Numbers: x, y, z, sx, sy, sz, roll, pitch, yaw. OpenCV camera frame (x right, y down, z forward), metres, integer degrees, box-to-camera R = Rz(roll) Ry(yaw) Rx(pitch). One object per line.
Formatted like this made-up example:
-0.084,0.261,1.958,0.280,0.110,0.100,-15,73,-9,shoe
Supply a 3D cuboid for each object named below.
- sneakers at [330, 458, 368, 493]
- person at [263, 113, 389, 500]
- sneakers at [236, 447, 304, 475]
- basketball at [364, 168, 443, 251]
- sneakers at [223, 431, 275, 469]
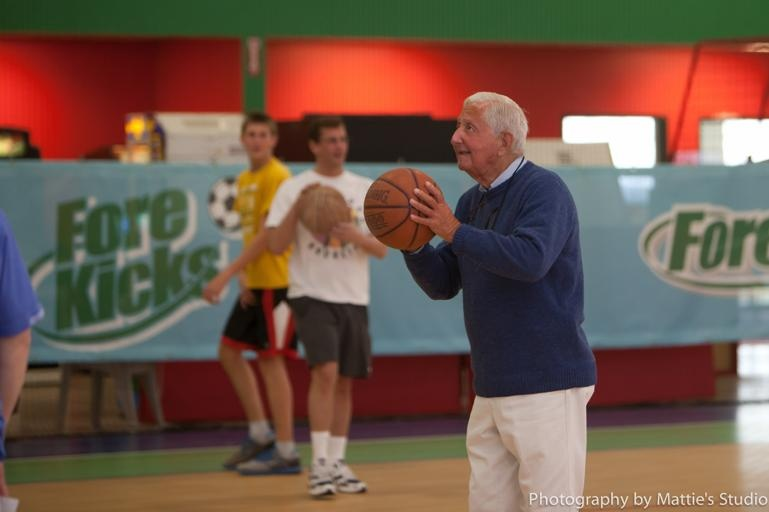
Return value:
-0.214,1.197,5.237,0.244,0.118,0.105,10,0,33,sneakers
-0.282,0.248,5.254,0.552,1.983,0.477,-8,11,-36,person
-0.617,1.143,5.371,0.404,0.170,0.140,4,-8,-5,sneakers
0.046,-0.206,4.204,0.322,0.395,0.335,4,-1,18,basketball
-0.798,1.065,5.303,0.367,0.150,0.125,-16,1,-20,sneakers
